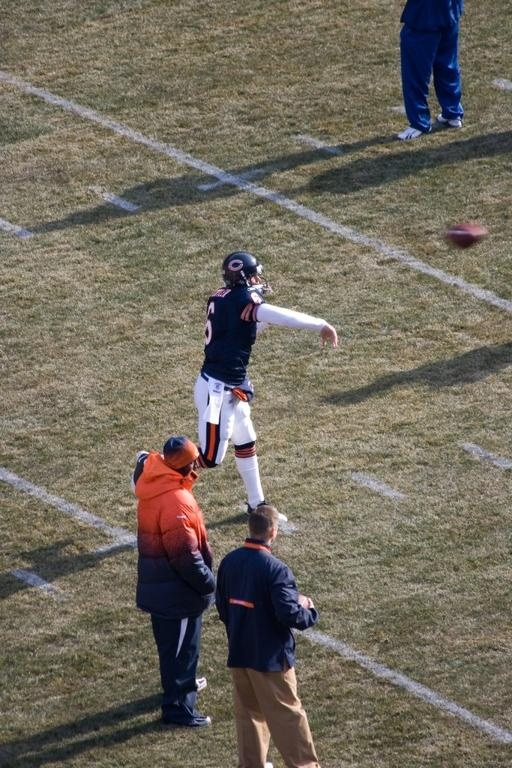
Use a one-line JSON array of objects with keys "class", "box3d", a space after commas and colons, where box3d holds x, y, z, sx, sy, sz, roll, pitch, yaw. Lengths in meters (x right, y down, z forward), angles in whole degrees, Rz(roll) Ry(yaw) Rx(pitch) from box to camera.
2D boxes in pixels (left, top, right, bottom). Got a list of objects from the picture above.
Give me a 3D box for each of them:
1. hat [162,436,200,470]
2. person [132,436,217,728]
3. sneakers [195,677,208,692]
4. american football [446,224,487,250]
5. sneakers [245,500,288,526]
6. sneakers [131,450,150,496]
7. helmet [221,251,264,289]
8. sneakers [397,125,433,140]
[{"class": "hat", "box3d": [-0.492, 0.496, 14.965, 0.232, 0.203, 0.187, -16, 31, 38]}, {"class": "person", "box3d": [-0.543, 1.417, 15.000, 0.656, 2.006, 0.390, 12, 14, 32]}, {"class": "sneakers", "box3d": [-0.377, 2.168, 15.264, 0.122, 0.053, 0.161, -1, 1, -4]}, {"class": "american football", "box3d": [1.951, -1.355, 19.602, 0.268, 0.097, 0.245, -4, 44, 4]}, {"class": "sneakers", "box3d": [0.084, 0.951, 15.381, 0.374, 0.180, 0.132, 11, 26, 37]}, {"class": "sneakers", "box3d": [-0.857, 0.653, 15.520, 0.097, 0.325, 0.179, 18, 13, 4]}, {"class": "helmet", "box3d": [-0.081, -0.885, 16.120, 0.269, 0.274, 0.223, -12, 30, -12]}, {"class": "sneakers", "box3d": [1.614, -2.473, 21.478, 0.353, 0.145, 0.167, -7, -12, 10]}]
